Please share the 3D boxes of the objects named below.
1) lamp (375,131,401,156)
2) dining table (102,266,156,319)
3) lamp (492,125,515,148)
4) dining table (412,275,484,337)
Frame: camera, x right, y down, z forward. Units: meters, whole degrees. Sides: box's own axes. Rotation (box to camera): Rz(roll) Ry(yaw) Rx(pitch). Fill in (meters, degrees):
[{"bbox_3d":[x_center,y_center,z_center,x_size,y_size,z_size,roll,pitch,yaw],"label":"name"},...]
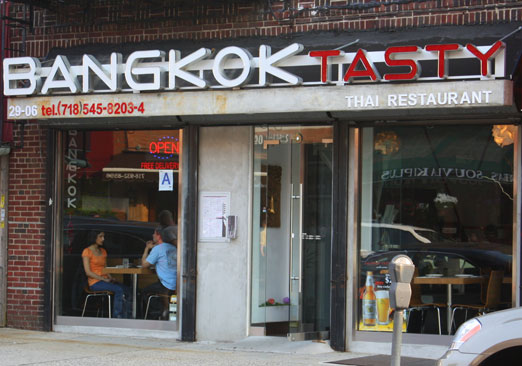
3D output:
[{"bbox_3d":[2.042,-0.616,16.049,0.403,0.352,0.367,1,2,15],"label":"lamp"},{"bbox_3d":[-2.226,1.835,16.987,0.882,0.798,0.822,0,-3,2],"label":"dining table"},{"bbox_3d":[3.779,-0.721,15.568,0.339,0.313,0.102,1,3,29],"label":"lamp"},{"bbox_3d":[3.000,1.981,15.957,1.042,0.791,0.998,-11,-20,39],"label":"dining table"}]
